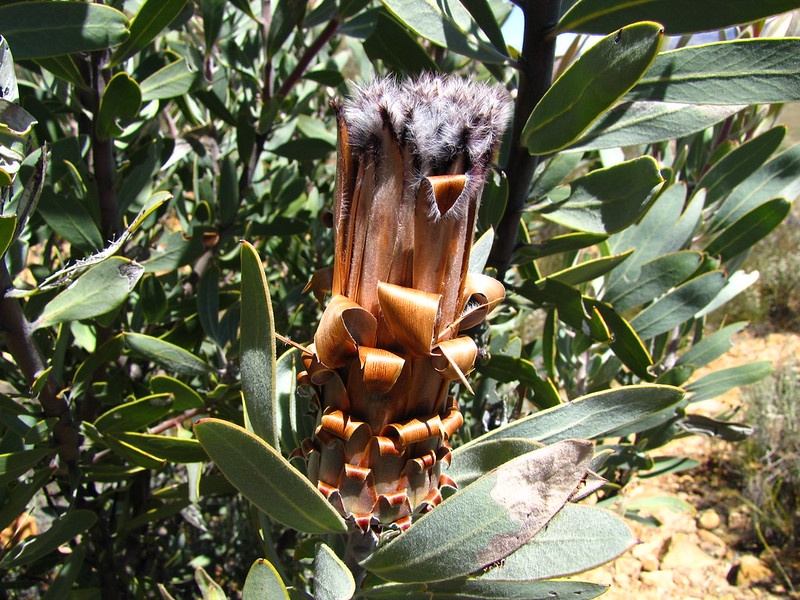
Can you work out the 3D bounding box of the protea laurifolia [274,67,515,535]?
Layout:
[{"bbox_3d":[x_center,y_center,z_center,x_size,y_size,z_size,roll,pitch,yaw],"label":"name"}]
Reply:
[{"bbox_3d":[-0.003,-0.005,1.392,0.318,0.710,0.478,8,29,10],"label":"protea laurifolia"}]
